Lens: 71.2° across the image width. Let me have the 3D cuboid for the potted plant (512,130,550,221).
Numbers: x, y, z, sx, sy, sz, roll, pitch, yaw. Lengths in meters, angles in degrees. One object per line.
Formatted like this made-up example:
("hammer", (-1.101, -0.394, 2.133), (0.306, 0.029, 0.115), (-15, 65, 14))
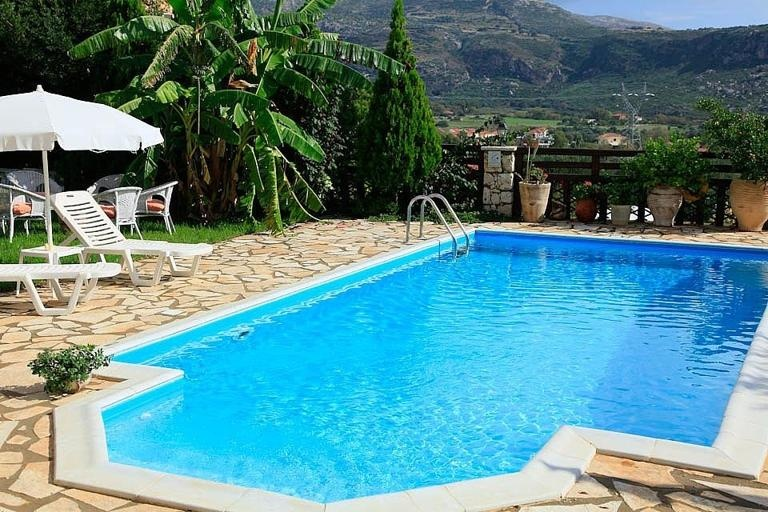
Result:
("potted plant", (4.174, -2.107, 14.917), (0.821, 2.322, 1.594), (-1, 11, 14))

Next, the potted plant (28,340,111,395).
("potted plant", (-2.948, 1.017, 5.102), (0.630, 0.335, 0.533), (-2, 9, -18))

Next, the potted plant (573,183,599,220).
("potted plant", (5.543, -1.405, 14.606), (0.614, 1.011, 0.468), (-1, 11, 12))
